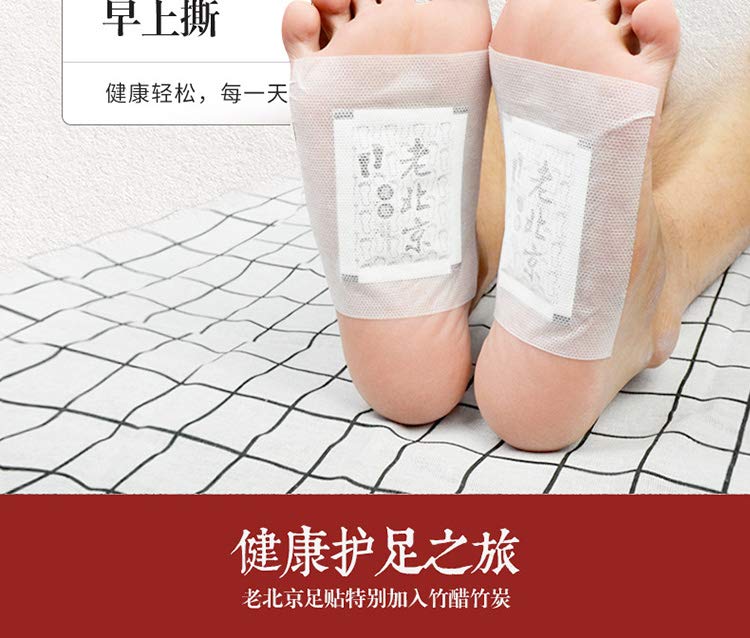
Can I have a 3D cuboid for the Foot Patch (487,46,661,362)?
[{"bbox_3d":[0.205,-0.119,0.611,0.183,0.273,0.069,18,27,36],"label":"Foot Patch"}]
